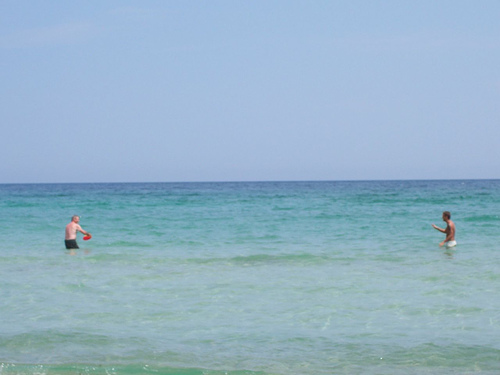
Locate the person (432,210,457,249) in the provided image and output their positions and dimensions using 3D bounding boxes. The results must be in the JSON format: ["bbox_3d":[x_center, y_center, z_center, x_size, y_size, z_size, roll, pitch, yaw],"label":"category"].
[{"bbox_3d":[9.047,2.000,38.370,1.146,0.899,2.371,-4,-70,21],"label":"person"}]
